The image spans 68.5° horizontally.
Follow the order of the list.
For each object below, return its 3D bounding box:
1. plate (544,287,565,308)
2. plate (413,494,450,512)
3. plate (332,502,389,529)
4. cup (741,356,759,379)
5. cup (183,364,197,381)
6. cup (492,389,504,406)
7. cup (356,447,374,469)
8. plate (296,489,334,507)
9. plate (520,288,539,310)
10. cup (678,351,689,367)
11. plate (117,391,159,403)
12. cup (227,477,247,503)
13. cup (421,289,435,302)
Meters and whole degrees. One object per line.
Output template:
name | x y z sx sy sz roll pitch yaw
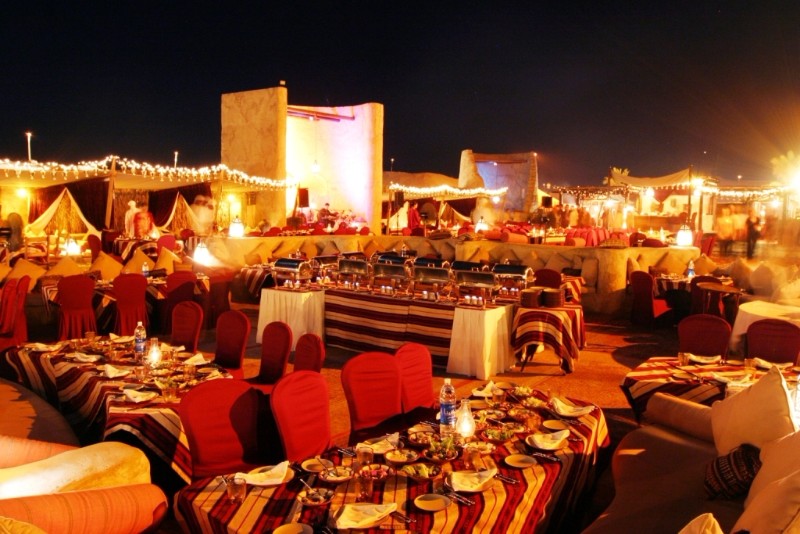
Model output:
plate | 2.235 0.472 8.595 0.221 0.220 0.293 -5 3 -44
plate | 0.228 1.682 4.179 0.261 0.054 0.151 4 10 2
plate | -0.248 1.725 4.055 0.385 0.096 0.176 3 10 -4
cup | 3.721 1.081 6.258 0.134 0.228 0.137 -1 4 0
cup | -2.097 1.062 5.881 0.120 0.147 0.124 0 3 0
cup | 0.924 1.234 5.490 0.110 0.113 0.104 0 -4 0
cup | -0.275 1.465 4.527 0.117 0.117 0.116 1 6 0
plate | -0.619 1.652 4.212 0.241 0.067 0.161 7 10 21
plate | 1.880 0.471 8.569 0.265 0.205 0.206 -1 3 -2
cup | 3.107 1.025 6.466 0.117 0.140 0.109 0 6 0
plate | -2.458 1.205 5.520 0.349 0.066 0.228 1 10 -11
cup | -1.172 1.609 4.218 0.101 0.141 0.138 3 -9 -20
cup | 0.442 0.459 9.189 0.213 0.121 0.209 9 2 0
